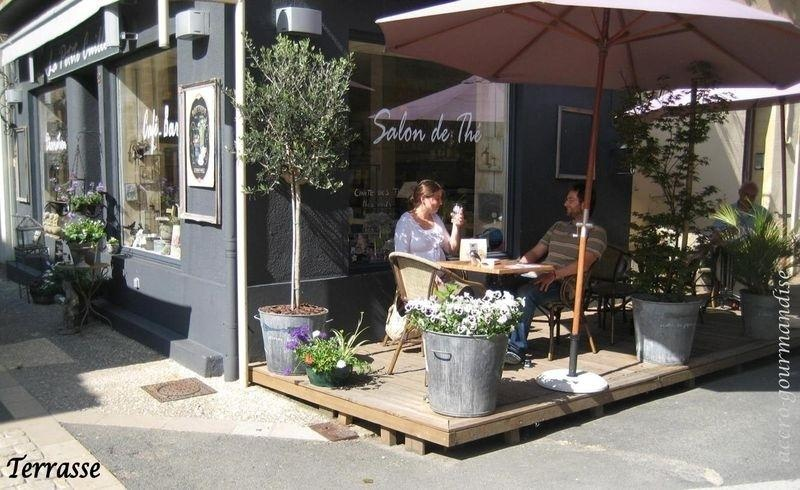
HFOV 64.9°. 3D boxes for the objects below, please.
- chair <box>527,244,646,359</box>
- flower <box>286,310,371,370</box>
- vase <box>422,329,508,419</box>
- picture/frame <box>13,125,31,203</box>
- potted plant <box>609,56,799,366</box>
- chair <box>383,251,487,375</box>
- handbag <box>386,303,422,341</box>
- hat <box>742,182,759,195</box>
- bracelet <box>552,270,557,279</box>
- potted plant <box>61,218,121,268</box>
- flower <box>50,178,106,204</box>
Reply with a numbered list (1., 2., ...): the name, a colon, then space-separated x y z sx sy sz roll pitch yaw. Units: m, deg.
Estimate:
1. chair: 2.534 0.658 9.143 1.494 1.972 1.572 0 1 -18
2. flower: -0.824 1.224 7.241 0.973 0.399 0.780 17 17 6
3. vase: 0.660 1.295 6.378 0.886 0.689 0.827 1 -6 -3
4. picture/frame: -8.060 -1.721 13.447 0.114 1.574 1.361 -5 8 -39
5. potted plant: 3.555 -0.442 8.277 1.200 3.734 1.545 3 7 25
6. chair: 0.321 0.647 8.284 1.384 1.838 1.306 -9 12 -30
7. handbag: 0.052 0.929 7.618 0.267 0.372 0.460 -29 27 34
8. hat: 6.066 -0.978 10.947 0.209 0.254 0.252 10 -6 16
9. bracelet: 1.983 0.377 8.040 0.078 0.074 0.018 0 6 -18
10. potted plant: -4.761 -0.024 9.773 0.950 0.896 0.797 0 -5 -9
11. flower: -5.414 -0.933 10.687 0.933 0.339 0.566 7 6 30
